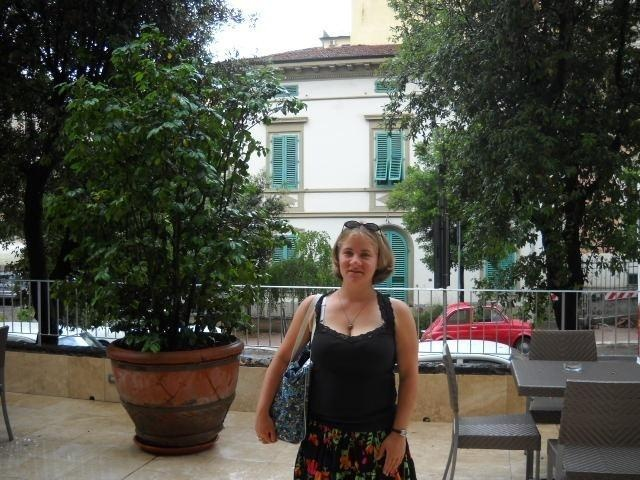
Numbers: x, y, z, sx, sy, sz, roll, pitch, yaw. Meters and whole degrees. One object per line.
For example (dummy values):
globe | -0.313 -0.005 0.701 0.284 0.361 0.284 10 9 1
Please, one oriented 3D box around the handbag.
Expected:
handbag | -0.230 1.294 6.003 0.316 0.897 0.677 9 -6 5

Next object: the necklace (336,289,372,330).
necklace | 0.294 0.587 5.994 0.280 0.398 0.052 3 -27 5
